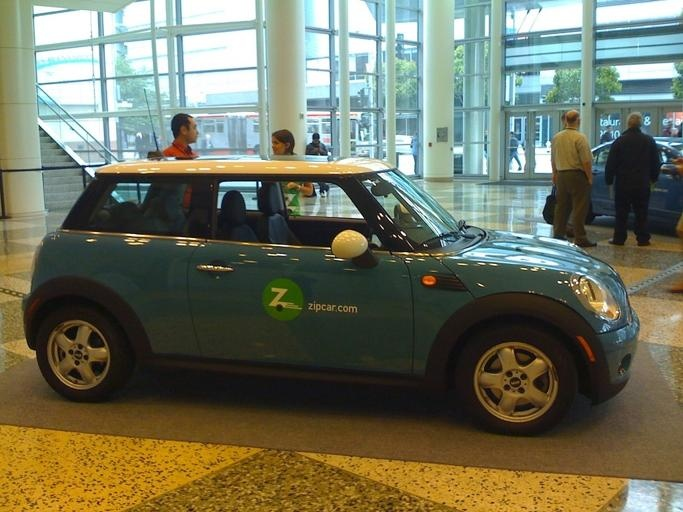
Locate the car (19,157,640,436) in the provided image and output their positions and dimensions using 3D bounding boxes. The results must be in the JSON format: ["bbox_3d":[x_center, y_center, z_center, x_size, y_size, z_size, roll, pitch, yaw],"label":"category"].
[{"bbox_3d":[-0.136,0.132,3.875,4.116,1.435,1.893,0,11,10],"label":"car"}]
